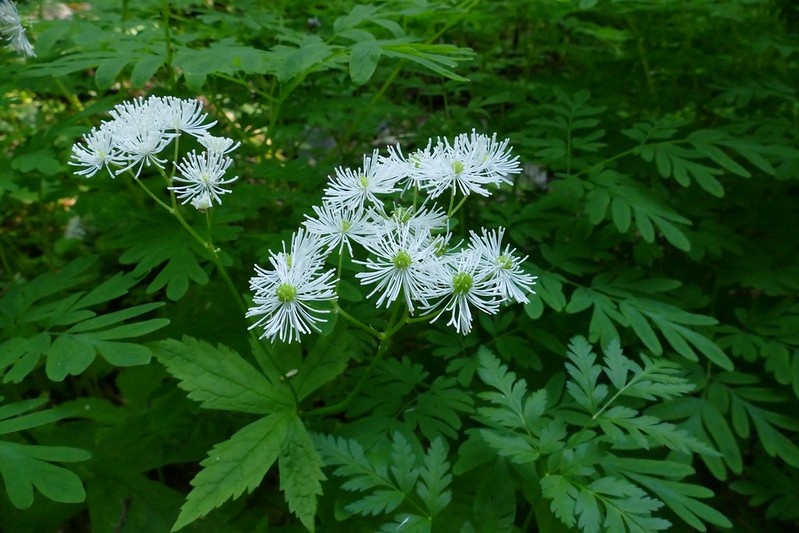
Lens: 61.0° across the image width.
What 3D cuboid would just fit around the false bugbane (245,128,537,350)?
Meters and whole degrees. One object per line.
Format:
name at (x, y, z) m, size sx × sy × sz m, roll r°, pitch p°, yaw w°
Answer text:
false bugbane at (0.031, -0.035, 3.300) m, size 1.316 × 0.969 × 0.553 m, roll -24°, pitch -17°, yaw 11°

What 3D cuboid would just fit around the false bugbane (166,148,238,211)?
false bugbane at (-0.916, -0.449, 3.163) m, size 0.302 × 0.159 × 0.299 m, roll -10°, pitch 20°, yaw -11°
